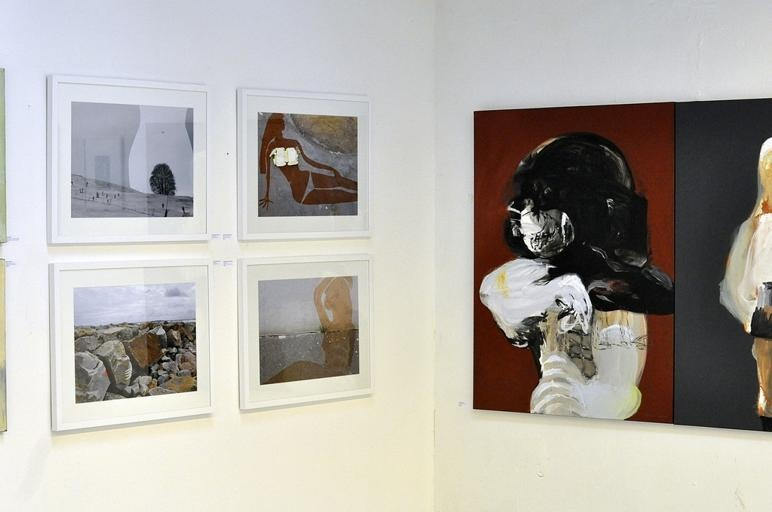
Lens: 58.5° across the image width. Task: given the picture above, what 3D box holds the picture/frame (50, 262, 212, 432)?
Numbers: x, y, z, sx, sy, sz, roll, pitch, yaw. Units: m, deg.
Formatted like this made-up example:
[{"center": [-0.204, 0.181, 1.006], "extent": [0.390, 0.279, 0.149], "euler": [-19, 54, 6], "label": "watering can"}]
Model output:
[{"center": [-1.083, 0.371, 2.849], "extent": [0.721, 0.731, 0.057], "euler": [-2, 0, -22], "label": "picture/frame"}]
